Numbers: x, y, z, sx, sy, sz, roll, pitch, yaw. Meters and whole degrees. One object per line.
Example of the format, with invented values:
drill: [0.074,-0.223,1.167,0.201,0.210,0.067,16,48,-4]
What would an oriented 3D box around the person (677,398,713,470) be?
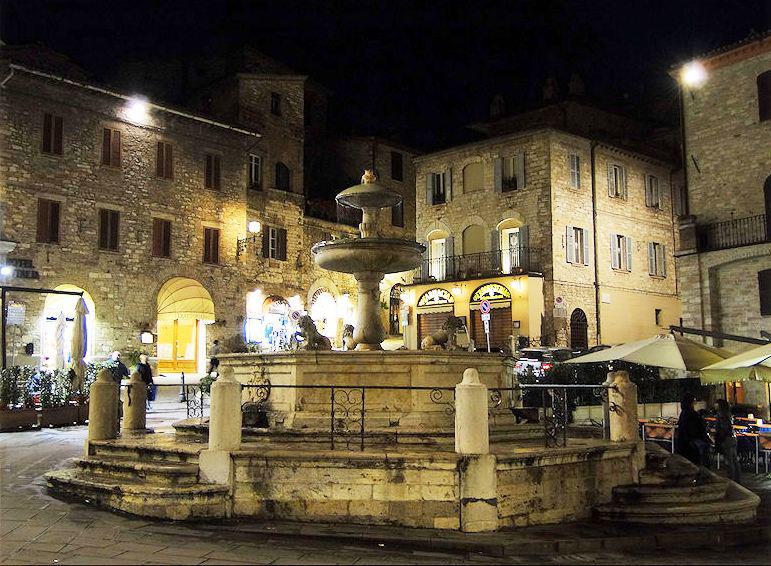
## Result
person: [6.676,3.316,16.249,0.684,1.553,1.474,7,9,22]

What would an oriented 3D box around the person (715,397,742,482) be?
person: [7.542,3.458,16.471,0.615,1.718,0.909,8,10,26]
